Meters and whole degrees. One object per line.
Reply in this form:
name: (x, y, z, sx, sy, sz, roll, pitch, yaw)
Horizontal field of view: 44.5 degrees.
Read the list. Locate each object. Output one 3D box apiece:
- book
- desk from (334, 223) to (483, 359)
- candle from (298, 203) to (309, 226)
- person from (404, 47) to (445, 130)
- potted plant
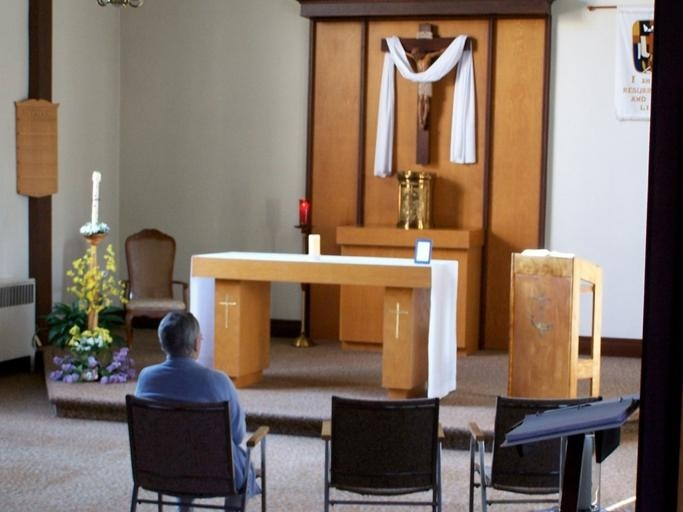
book: (0.970, 0.663, 3.401, 0.291, 0.121, 0.307, -14, 5, 29)
desk: (0.384, 0.392, 8.283, 0.596, 1.221, 1.290, 2, -3, 12)
candle: (-0.347, -0.412, 7.865, 0.090, 0.232, 0.327, 0, 4, -2)
person: (0.798, -1.590, 7.831, 0.610, 0.854, 0.183, 3, 6, 37)
potted plant: (-2.105, 0.785, 7.034, 0.542, 0.350, 0.739, 3, 34, -8)
